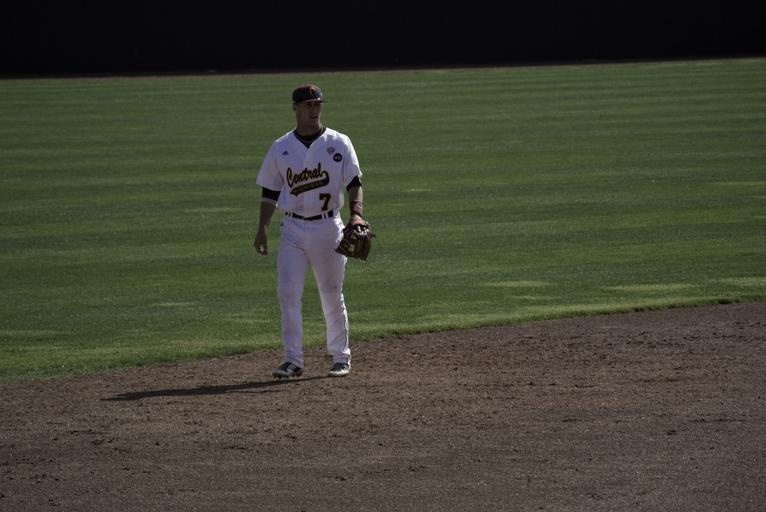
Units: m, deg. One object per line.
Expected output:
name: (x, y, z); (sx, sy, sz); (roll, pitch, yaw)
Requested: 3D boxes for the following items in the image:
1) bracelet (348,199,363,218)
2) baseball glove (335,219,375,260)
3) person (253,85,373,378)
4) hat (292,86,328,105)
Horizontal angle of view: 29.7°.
bracelet: (-0.331, -0.576, 17.408); (0.128, 0.180, 0.168); (1, 6, 14)
baseball glove: (-0.303, -0.187, 17.451); (0.472, 0.431, 0.326); (32, 10, -7)
person: (-0.873, -0.286, 17.424); (1.324, 3.526, 0.525); (-1, 7, -4)
hat: (-0.985, -1.925, 17.410); (0.299, 0.159, 0.367); (-6, 2, -32)
